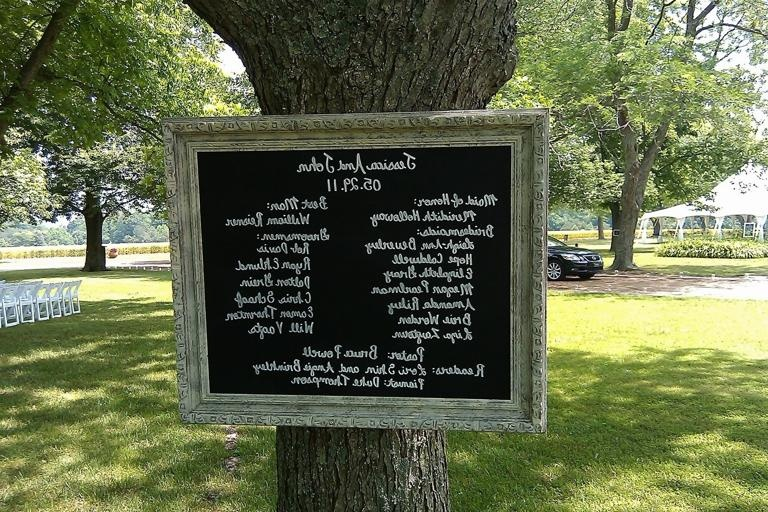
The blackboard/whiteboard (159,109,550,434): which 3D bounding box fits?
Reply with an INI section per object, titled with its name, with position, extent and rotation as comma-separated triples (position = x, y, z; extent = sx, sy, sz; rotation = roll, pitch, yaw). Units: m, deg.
[blackboard/whiteboard]
position = -0.260, 0.161, 10.022
extent = 4.719, 3.806, 0.329
rotation = 0, 0, 3
